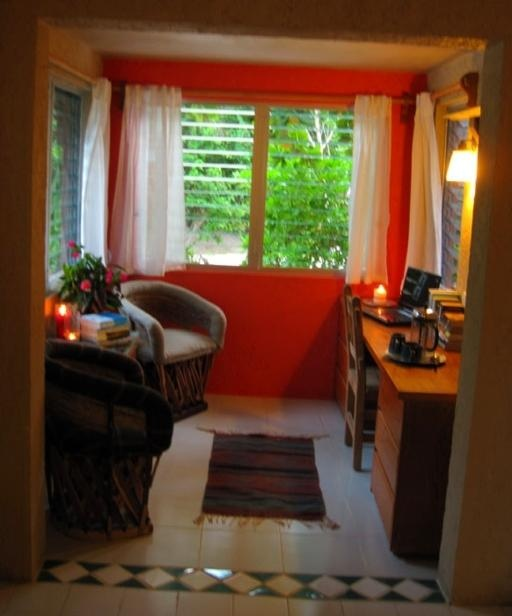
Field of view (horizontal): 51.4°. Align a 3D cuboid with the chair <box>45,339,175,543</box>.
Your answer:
[{"bbox_3d":[-0.703,0.511,2.372,0.549,0.839,0.632,-4,14,-38],"label":"chair"}]

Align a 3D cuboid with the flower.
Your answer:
[{"bbox_3d":[-1.066,-0.189,3.351,0.248,0.485,0.329,-17,3,15],"label":"flower"}]

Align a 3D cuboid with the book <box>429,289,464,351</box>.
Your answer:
[{"bbox_3d":[1.020,0.073,2.832,0.069,0.109,0.263,0,24,4],"label":"book"}]

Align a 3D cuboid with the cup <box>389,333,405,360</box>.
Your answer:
[{"bbox_3d":[0.678,0.181,2.567,0.053,0.123,0.107,6,12,11],"label":"cup"}]

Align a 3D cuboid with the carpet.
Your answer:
[{"bbox_3d":[0.058,0.922,2.858,0.662,0.030,0.885,3,9,0],"label":"carpet"}]

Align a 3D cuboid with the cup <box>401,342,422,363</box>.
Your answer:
[{"bbox_3d":[0.728,0.203,2.472,0.053,0.082,0.100,1,10,6],"label":"cup"}]

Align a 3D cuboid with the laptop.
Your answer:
[{"bbox_3d":[0.955,-0.071,3.536,0.334,0.382,0.524,-1,16,-10],"label":"laptop"}]

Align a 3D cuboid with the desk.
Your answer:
[{"bbox_3d":[0.721,0.540,2.841,0.290,0.693,1.279,4,13,-1],"label":"desk"}]

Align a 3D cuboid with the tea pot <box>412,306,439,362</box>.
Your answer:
[{"bbox_3d":[0.844,0.145,2.660,0.100,0.251,0.203,-2,12,-21],"label":"tea pot"}]

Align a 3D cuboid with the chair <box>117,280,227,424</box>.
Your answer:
[{"bbox_3d":[-0.611,0.290,3.662,0.488,0.933,0.602,7,13,37],"label":"chair"}]

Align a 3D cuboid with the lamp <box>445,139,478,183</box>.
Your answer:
[{"bbox_3d":[1.139,-0.812,2.938,0.141,0.208,0.138,5,8,23],"label":"lamp"}]
